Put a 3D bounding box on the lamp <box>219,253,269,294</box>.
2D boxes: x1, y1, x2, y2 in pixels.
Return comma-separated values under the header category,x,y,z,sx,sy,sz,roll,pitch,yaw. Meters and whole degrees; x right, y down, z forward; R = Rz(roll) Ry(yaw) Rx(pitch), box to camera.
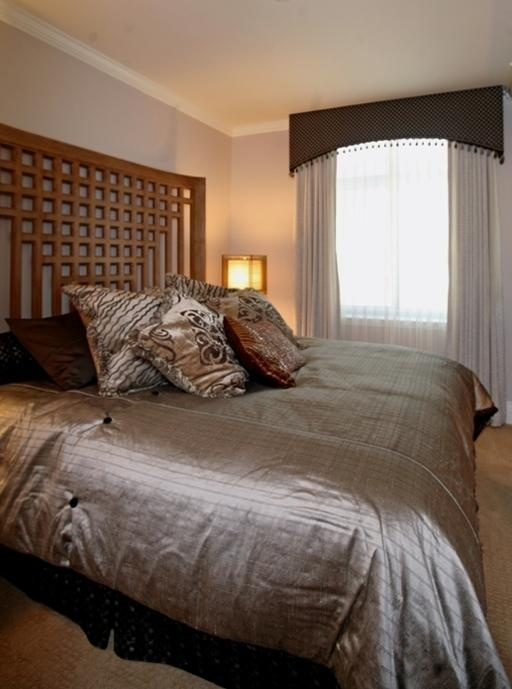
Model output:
category,x,y,z,sx,sy,sz,roll,pitch,yaw
lamp,-0.100,-0.584,3.872,0.444,0.494,0.360,0,2,10
